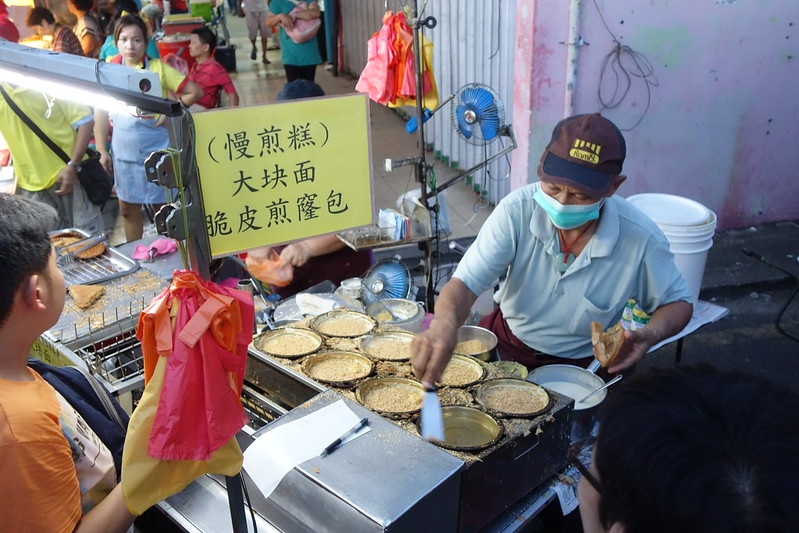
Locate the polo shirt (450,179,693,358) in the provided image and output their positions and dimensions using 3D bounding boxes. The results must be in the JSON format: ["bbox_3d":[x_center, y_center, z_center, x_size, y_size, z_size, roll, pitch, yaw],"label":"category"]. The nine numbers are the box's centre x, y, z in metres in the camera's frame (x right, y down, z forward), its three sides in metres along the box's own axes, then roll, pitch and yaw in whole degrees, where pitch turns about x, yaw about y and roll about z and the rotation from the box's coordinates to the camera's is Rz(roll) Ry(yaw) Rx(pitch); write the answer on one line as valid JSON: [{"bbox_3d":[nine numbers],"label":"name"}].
[{"bbox_3d":[0.945,-0.002,3.149,1.132,0.913,0.633,15,37,18],"label":"polo shirt"}]

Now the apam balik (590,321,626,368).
[{"bbox_3d":[0.949,0.355,2.719,0.049,0.211,0.134,21,-8,-34],"label":"apam balik"}]

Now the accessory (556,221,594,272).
[{"bbox_3d":[0.872,-0.101,2.948,0.145,0.133,0.256,37,16,12],"label":"accessory"}]

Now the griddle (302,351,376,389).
[{"bbox_3d":[-0.267,0.439,2.557,0.170,0.020,0.170,-13,29,-28],"label":"griddle"}]

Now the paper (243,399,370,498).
[{"bbox_3d":[-0.332,0.667,2.164,0.445,0.152,0.206,-14,28,-25],"label":"paper"}]

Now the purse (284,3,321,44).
[{"bbox_3d":[-1.365,-3.388,8.411,0.425,0.538,0.220,36,-9,-12],"label":"purse"}]

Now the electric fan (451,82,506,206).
[{"bbox_3d":[0.625,-0.984,4.506,0.449,0.865,0.282,19,42,36],"label":"electric fan"}]

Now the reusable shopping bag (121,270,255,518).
[{"bbox_3d":[-0.677,0.389,1.918,0.434,0.692,0.303,-5,25,-7],"label":"reusable shopping bag"}]

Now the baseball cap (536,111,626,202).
[{"bbox_3d":[0.829,-0.506,2.743,0.371,0.343,0.263,7,26,17],"label":"baseball cap"}]

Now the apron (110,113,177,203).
[{"bbox_3d":[-2.556,-1.023,5.638,0.398,0.805,0.555,6,9,38],"label":"apron"}]

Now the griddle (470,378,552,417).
[{"bbox_3d":[0.455,0.528,2.397,0.300,0.036,0.252,5,26,14],"label":"griddle"}]

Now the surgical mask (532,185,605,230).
[{"bbox_3d":[0.778,-0.255,2.705,0.253,0.110,0.267,11,-21,-12],"label":"surgical mask"}]

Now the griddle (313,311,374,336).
[{"bbox_3d":[-0.275,0.279,2.905,0.149,0.023,0.157,5,25,7],"label":"griddle"}]
